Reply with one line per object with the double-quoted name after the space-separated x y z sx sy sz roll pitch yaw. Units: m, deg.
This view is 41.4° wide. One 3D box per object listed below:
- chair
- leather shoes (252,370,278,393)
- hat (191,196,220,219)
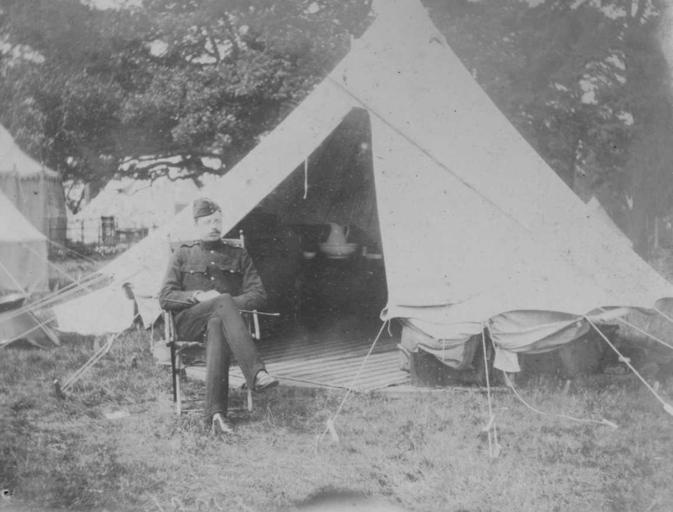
-0.850 0.499 6.249 0.734 1.145 0.394 -5 15 -6 "chair"
-0.493 0.879 6.207 0.099 0.113 0.208 5 -18 -39 "leather shoes"
-0.936 -0.336 6.237 0.129 0.099 0.179 -1 0 0 "hat"
